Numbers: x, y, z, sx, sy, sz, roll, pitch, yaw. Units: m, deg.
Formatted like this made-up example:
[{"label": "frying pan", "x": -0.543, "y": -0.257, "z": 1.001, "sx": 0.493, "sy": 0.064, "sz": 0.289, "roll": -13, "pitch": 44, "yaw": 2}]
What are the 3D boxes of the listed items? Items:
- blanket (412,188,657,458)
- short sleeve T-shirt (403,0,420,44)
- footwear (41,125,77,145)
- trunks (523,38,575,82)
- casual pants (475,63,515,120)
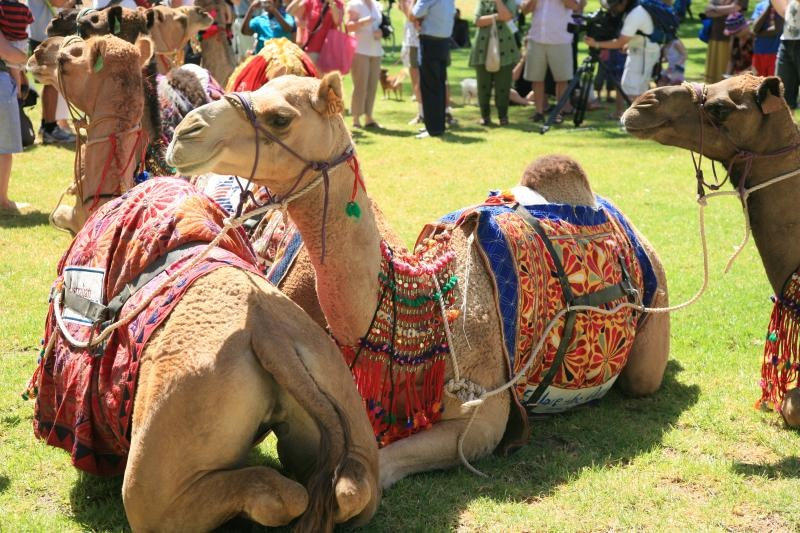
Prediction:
[{"label": "blanket", "x": 0.930, "y": 0.380, "z": 10.057, "sx": 1.846, "sy": 1.807, "sz": 2.530, "roll": 8, "pitch": 8, "yaw": 37}, {"label": "short sleeve T-shirt", "x": 0.138, "y": -3.315, "z": 17.271, "sx": 0.225, "sy": 0.772, "sz": 0.428, "roll": 4, "pitch": 11, "yaw": 10}, {"label": "footwear", "x": -4.354, "y": -1.699, "z": 15.806, "sx": 0.550, "sy": 0.262, "sz": 0.218, "roll": 0, "pitch": 21, "yaw": -18}, {"label": "trunks", "x": 2.075, "y": -2.878, "z": 17.300, "sx": 0.815, "sy": 0.786, "sz": 0.481, "roll": 4, "pitch": 16, "yaw": 13}, {"label": "casual pants", "x": 1.321, "y": -2.555, "z": 17.667, "sx": 0.385, "sy": 0.856, "sz": 0.252, "roll": -3, "pitch": 23, "yaw": 14}]
